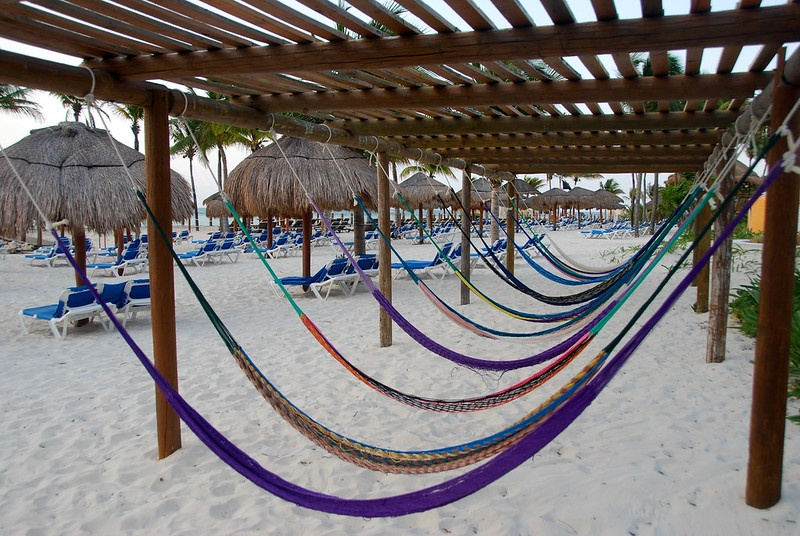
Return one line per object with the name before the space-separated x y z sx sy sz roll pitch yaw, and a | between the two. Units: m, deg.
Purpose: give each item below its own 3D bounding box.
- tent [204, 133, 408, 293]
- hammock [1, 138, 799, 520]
tent | -1.846 -1.142 10.338 3.259 2.887 3.241 -8 12 -33
hammock | 0.058 0.653 3.507 3.881 1.821 0.858 -4 10 -5
